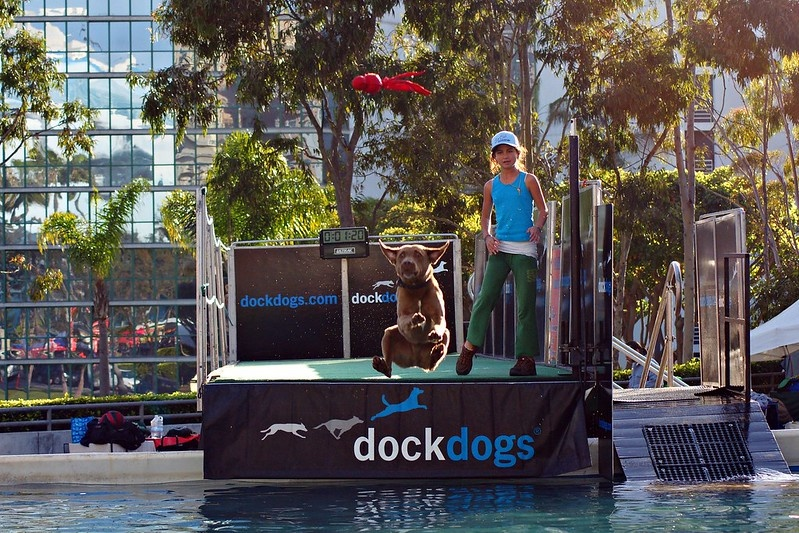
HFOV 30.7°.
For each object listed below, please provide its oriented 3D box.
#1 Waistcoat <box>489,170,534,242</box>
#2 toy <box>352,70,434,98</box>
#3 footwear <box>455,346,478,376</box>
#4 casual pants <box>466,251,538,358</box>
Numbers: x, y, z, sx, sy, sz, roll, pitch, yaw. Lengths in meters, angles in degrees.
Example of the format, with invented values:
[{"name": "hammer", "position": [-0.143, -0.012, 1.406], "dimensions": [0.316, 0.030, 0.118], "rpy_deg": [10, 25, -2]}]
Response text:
[{"name": "Waistcoat", "position": [2.748, -1.442, 35.394], "dimensions": [1.099, 2.382, 1.120], "rpy_deg": [-2, -14, 2]}, {"name": "toy", "position": [-0.308, -5.477, 43.804], "dimensions": [2.002, 0.863, 1.363], "rpy_deg": [-11, 4, -8]}, {"name": "footwear", "position": [1.592, 2.348, 35.397], "dimensions": [0.263, 0.912, 0.333], "rpy_deg": [5, 6, 6]}, {"name": "casual pants", "position": [2.645, 1.031, 36.676], "dimensions": [1.868, 4.033, 0.881], "rpy_deg": [4, -15, 7]}]
